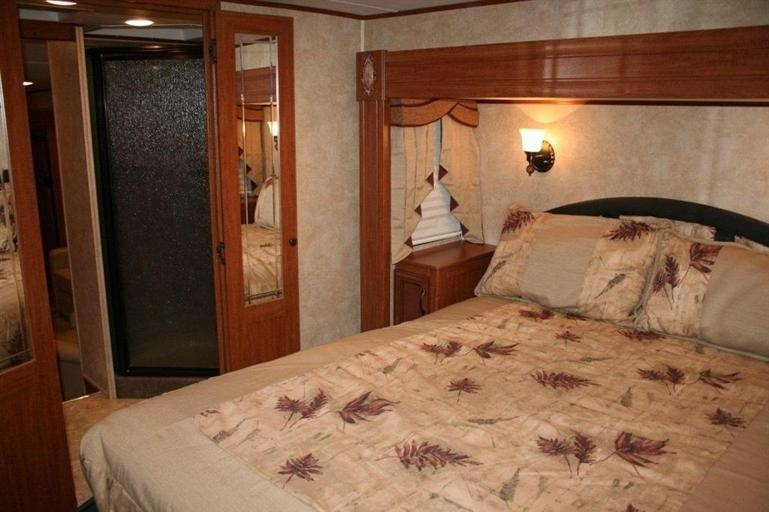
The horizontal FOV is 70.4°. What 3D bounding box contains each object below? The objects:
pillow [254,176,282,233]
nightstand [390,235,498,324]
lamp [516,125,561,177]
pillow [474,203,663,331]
[{"bbox_3d":[-0.877,-0.412,4.132,0.109,0.329,0.272,8,6,33],"label":"pillow"},{"bbox_3d":[0.548,0.353,4.888,0.505,0.792,0.911,14,20,41],"label":"nightstand"},{"bbox_3d":[1.223,-0.843,4.388,0.355,0.481,0.397,-13,16,-40],"label":"lamp"},{"bbox_3d":[1.295,0.038,3.912,1.121,0.607,0.501,11,22,34],"label":"pillow"}]
